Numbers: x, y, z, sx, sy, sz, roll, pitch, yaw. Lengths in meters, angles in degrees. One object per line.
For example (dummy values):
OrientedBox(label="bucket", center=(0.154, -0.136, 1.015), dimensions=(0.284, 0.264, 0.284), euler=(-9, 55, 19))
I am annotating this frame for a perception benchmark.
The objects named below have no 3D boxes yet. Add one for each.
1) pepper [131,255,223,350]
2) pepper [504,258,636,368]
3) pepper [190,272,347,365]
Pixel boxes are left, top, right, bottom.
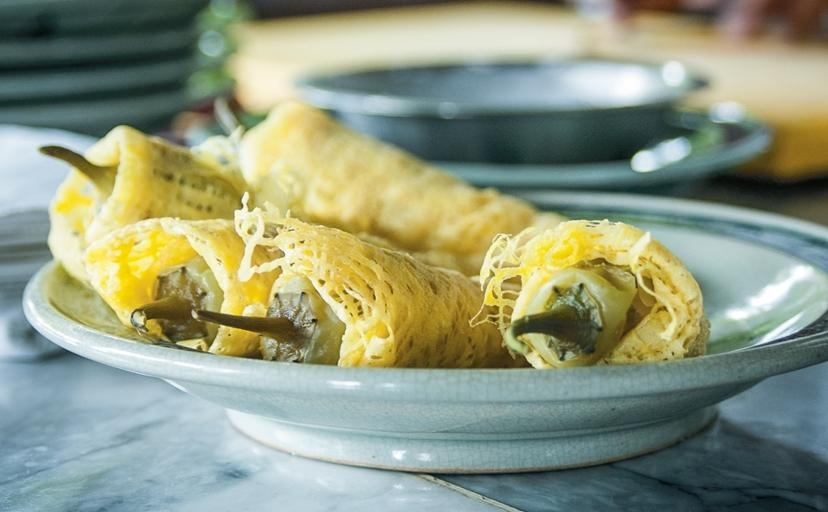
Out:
OrientedBox(label="pepper", center=(-0.147, 0.030, 0.544), dimensions=(0.076, 0.062, 0.048), euler=(7, 93, -1))
OrientedBox(label="pepper", center=(0.096, 0.034, 0.504), dimensions=(0.058, 0.077, 0.049), euler=(-46, 74, 13))
OrientedBox(label="pepper", center=(-0.098, 0.033, 0.541), dimensions=(0.033, 0.071, 0.047), euler=(30, 103, 8))
